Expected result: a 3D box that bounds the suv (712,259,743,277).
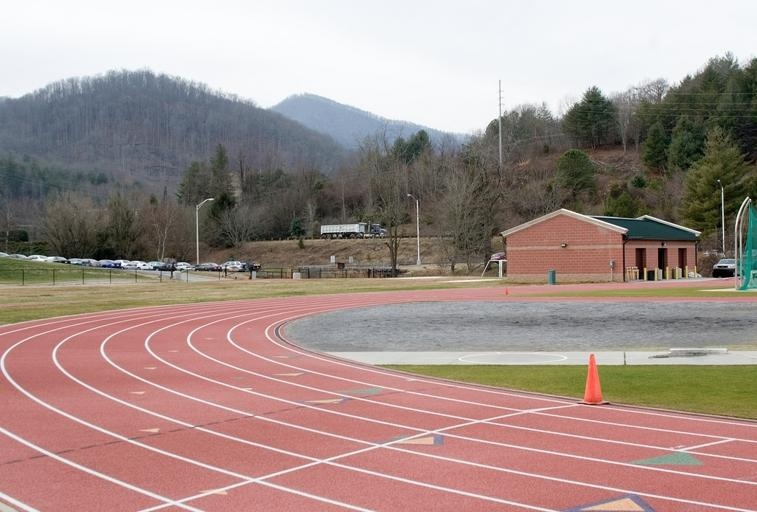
[{"bbox_3d":[28.810,0.883,76.957,2.008,1.772,3.968,-3,-7,34],"label":"suv"}]
